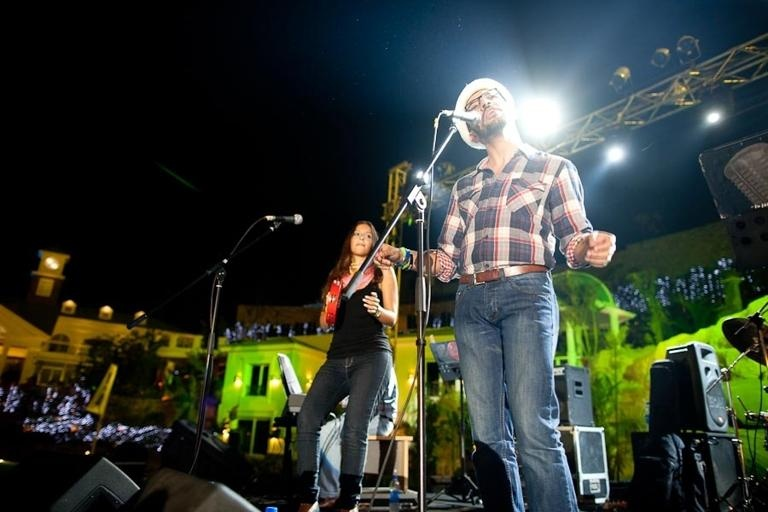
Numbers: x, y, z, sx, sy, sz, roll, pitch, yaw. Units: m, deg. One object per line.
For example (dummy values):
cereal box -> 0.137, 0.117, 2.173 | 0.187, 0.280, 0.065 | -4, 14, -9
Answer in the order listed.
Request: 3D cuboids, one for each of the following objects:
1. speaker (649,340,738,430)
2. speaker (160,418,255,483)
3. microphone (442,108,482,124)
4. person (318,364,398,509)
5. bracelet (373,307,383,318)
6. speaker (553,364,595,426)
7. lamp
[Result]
speaker -> 4.198, 1.793, 6.548 | 1.098, 1.135, 0.596 | 10, -16, -29
speaker -> -2.287, 2.577, 6.298 | 1.307, 0.436, 0.957 | 32, -13, -15
microphone -> 0.753, -1.318, 4.556 | 0.393, 0.127, 0.122 | 7, 9, -26
person -> -0.318, 2.016, 5.404 | 0.989, 1.778, 1.291 | 8, -34, -9
bracelet -> -0.065, 0.588, 4.986 | 0.052, 0.104, 0.095 | 20, 1, -16
speaker -> 2.606, 2.032, 6.839 | 0.610, 0.843, 0.628 | 2, -21, 6
lamp -> 4.952, -3.644, 9.213 | 1.773, 0.546, 0.661 | -23, -14, 41
